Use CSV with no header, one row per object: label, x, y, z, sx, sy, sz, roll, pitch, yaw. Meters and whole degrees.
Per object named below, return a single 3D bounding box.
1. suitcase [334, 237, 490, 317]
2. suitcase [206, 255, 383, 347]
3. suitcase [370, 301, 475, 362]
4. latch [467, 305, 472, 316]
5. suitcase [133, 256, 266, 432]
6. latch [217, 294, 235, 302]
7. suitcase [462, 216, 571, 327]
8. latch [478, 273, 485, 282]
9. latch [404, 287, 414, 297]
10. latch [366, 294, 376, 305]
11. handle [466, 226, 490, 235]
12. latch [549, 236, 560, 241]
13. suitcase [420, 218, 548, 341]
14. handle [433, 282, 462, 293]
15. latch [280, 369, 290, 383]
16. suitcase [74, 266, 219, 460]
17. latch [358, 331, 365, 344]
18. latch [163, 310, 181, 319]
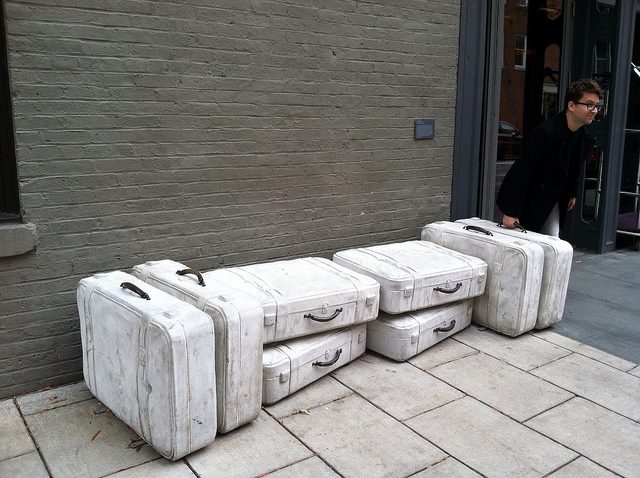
suitcase,0.894,0.297,4.538,1.118,0.295,1.077,-5,16,-17
suitcase,-0.170,0.419,3.817,0.828,0.248,0.810,-5,14,-33
suitcase,0.915,0.797,4.195,0.672,0.194,0.505,-7,8,-39
latch,1.421,0.682,4.598,0.022,0.074,0.074,15,2,44
suitcase,-0.731,0.701,3.018,0.326,0.792,0.866,-14,25,-39
latch,-0.577,0.383,3.112,0.085,0.018,0.104,-17,23,-42
suitcase,1.944,0.297,4.919,0.379,0.880,0.996,-8,16,-33
latch,1.478,0.356,4.435,0.084,0.066,0.121,-3,1,27
latch,0.733,0.434,3.977,0.075,0.070,0.024,-4,13,-35
latch,0.411,0.484,3.854,0.080,0.074,0.025,-7,14,-38
handle,1.539,-0.093,4.709,0.063,0.059,0.251,-13,19,-31
latch,2.214,-0.004,4.574,0.077,0.020,0.073,-9,16,-38
suitcase,1.534,0.425,4.457,0.388,0.799,0.905,-19,28,-40
handle,1.135,0.445,4.223,0.345,0.086,0.045,-11,21,-30
latch,-0.233,0.973,3.435,0.037,0.098,0.107,8,9,39
suitcase,-1.137,0.745,3.221,1.161,0.941,0.421,16,18,38
latch,0.360,0.825,4.042,0.022,0.073,0.072,10,12,-2
latch,-0.851,0.447,2.857,0.083,0.023,0.074,-17,23,-42
